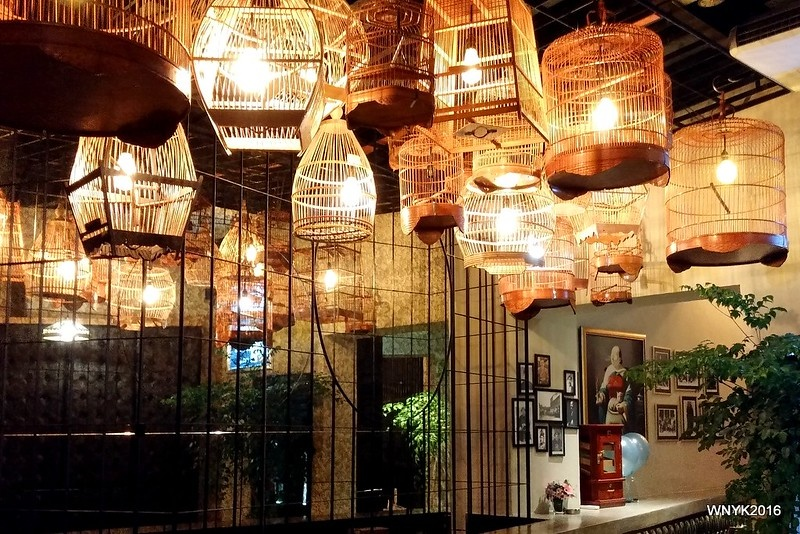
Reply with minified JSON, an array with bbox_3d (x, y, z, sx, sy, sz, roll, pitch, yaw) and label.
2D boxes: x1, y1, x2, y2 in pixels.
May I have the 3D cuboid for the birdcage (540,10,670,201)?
[{"bbox_3d":[1.609,-1.364,7.150,0.978,1.590,0.827,-4,-12,14],"label":"birdcage"}]

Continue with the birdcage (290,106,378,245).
[{"bbox_3d":[-0.601,-0.778,8.277,0.964,1.407,0.967,-1,0,-31],"label":"birdcage"}]

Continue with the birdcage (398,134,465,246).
[{"bbox_3d":[0.245,-0.805,8.058,0.552,1.042,0.583,-4,-12,3],"label":"birdcage"}]

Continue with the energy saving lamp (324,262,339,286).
[{"bbox_3d":[-1.002,0.100,13.221,0.137,0.147,0.319,11,14,-8],"label":"energy saving lamp"}]

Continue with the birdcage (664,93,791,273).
[{"bbox_3d":[3.193,-0.817,8.969,1.149,1.975,2.394,-7,-13,23],"label":"birdcage"}]

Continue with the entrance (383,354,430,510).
[{"bbox_3d":[0.058,2.326,13.253,0.647,2.237,1.222,-1,-12,-1],"label":"entrance"}]

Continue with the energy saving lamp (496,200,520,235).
[{"bbox_3d":[0.965,-0.434,8.007,0.208,0.270,0.213,0,-2,-16],"label":"energy saving lamp"}]
